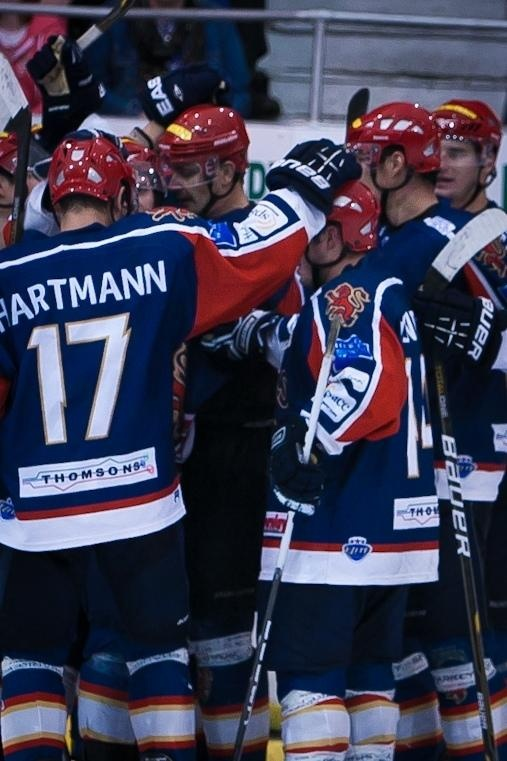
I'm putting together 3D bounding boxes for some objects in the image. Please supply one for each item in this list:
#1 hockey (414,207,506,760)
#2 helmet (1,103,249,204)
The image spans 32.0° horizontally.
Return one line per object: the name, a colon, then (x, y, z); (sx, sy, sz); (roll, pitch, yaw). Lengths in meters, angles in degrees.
hockey: (0.628, 0.275, 2.650); (0.078, 1.393, 0.507); (2, 8, 27)
helmet: (-0.353, -0.951, 3.546); (0.706, 0.249, 0.493); (4, 12, -27)
